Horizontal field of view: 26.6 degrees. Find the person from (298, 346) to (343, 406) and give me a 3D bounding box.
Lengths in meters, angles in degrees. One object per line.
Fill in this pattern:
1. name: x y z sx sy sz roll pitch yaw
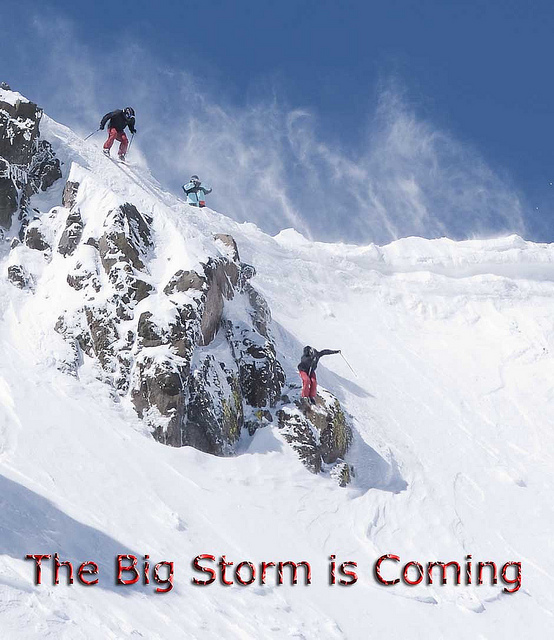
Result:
1. person: 1.827 2.536 51.130 1.064 1.278 2.583 -25 50 40
